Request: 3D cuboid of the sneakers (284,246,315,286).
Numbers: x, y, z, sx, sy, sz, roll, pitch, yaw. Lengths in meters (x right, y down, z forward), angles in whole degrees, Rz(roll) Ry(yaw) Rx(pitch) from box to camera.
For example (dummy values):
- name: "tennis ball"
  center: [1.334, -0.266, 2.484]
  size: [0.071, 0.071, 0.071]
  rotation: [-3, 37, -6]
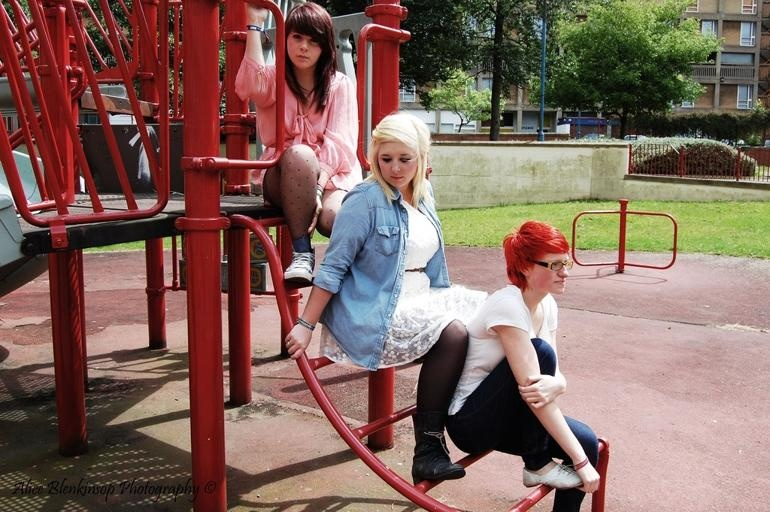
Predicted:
- name: "sneakers"
  center: [-0.482, 0.078, 3.912]
  size: [0.098, 0.122, 0.302]
  rotation: [2, -5, 3]

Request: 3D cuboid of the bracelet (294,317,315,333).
- name: "bracelet"
  center: [-0.430, 0.363, 3.693]
  size: [0.100, 0.085, 0.097]
  rotation: [-3, 13, -9]

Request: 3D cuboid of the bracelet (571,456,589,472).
- name: "bracelet"
  center: [0.995, 1.057, 3.497]
  size: [0.057, 0.063, 0.029]
  rotation: [-35, 68, -27]

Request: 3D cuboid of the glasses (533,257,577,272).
- name: "glasses"
  center: [0.920, 0.034, 3.643]
  size: [0.311, 0.066, 0.110]
  rotation: [-13, 17, -43]

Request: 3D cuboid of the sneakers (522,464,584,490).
- name: "sneakers"
  center: [0.866, 1.142, 3.547]
  size: [0.266, 0.110, 0.130]
  rotation: [-3, 8, 7]

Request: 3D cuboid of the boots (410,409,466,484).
- name: "boots"
  center: [0.267, 0.987, 3.576]
  size: [0.159, 0.361, 0.429]
  rotation: [4, -16, -25]

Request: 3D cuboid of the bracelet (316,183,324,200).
- name: "bracelet"
  center: [-0.395, -0.391, 4.124]
  size: [0.053, 0.071, 0.069]
  rotation: [0, 0, -18]

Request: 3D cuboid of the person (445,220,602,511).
- name: "person"
  center: [0.762, 0.598, 3.662]
  size: [0.772, 1.530, 0.501]
  rotation: [3, 13, 18]

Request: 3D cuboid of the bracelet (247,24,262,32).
- name: "bracelet"
  center: [-0.791, -1.381, 4.190]
  size: [0.060, 0.018, 0.048]
  rotation: [3, 32, -40]
